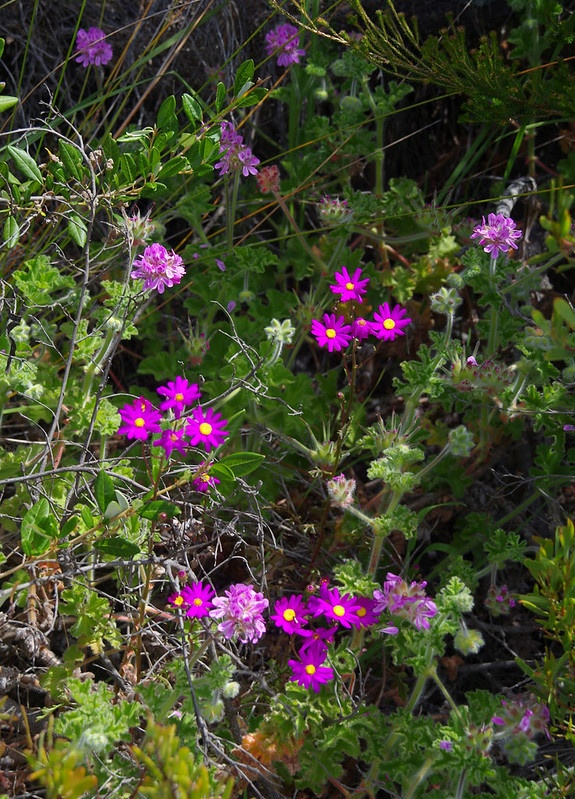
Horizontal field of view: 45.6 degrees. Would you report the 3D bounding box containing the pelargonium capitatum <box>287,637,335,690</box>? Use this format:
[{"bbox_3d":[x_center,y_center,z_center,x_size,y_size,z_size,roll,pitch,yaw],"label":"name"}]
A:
[{"bbox_3d":[0.047,0.541,1.384,0.088,0.072,0.097,-3,55,-7],"label":"pelargonium capitatum"}]

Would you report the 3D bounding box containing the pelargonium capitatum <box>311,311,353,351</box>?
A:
[{"bbox_3d":[0.104,-0.177,1.751,0.121,0.043,0.114,7,66,-27],"label":"pelargonium capitatum"}]

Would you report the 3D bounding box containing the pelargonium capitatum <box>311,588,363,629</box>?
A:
[{"bbox_3d":[0.092,0.445,1.468,0.105,0.048,0.104,10,43,-8],"label":"pelargonium capitatum"}]
